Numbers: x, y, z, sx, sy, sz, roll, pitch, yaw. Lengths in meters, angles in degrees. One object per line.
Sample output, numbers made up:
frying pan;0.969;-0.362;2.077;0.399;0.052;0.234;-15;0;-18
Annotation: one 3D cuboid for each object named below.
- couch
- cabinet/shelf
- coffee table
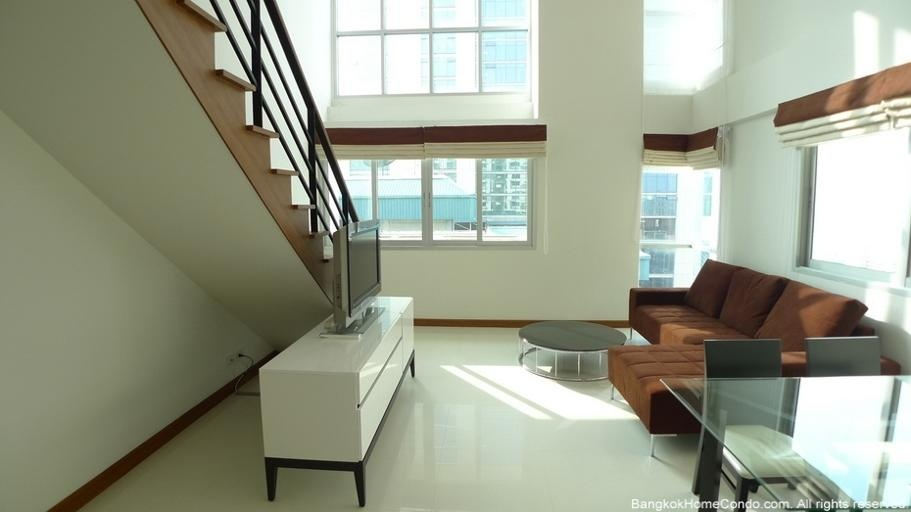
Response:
couch;2.864;0.771;6.597;1.937;1.038;2.724;-1;8;5
cabinet/shelf;-1.096;1.415;5.494;0.638;0.780;1.817;0;13;7
coffee table;1.347;1.150;7.154;0.894;0.216;0.929;0;10;-6
